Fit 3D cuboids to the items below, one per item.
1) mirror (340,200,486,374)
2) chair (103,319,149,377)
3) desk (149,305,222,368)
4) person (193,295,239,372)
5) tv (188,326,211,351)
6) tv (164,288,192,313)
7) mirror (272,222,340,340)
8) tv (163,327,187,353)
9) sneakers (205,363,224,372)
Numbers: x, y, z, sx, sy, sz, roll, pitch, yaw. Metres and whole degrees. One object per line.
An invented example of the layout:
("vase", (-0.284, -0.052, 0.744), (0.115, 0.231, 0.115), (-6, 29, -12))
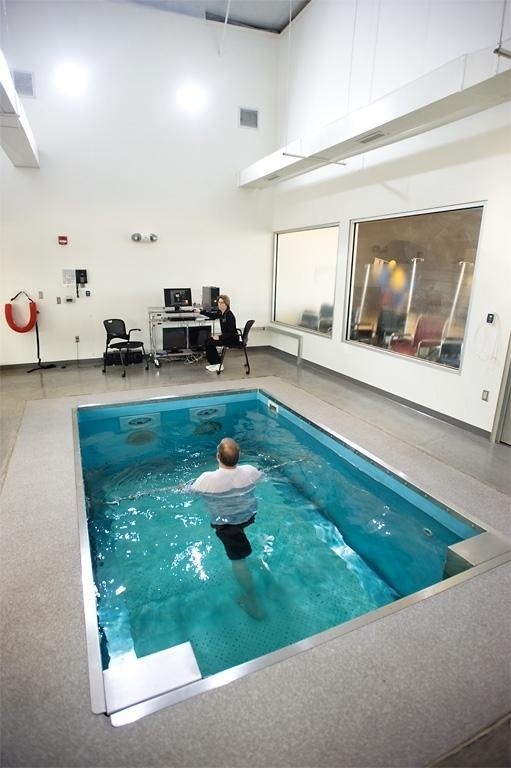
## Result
("mirror", (1.885, -1.219, 5.826), (0.026, 1.743, 1.991), (-7, 17, -30))
("chair", (-2.198, -0.622, 7.664), (0.707, 0.878, 0.702), (-3, -5, -13))
("desk", (-1.248, -0.857, 8.163), (1.116, 0.955, 0.617), (-5, 2, -9))
("person", (-0.606, -0.887, 7.807), (0.602, 1.242, 0.767), (-7, 16, -30))
("tv", (-1.019, -0.846, 8.367), (0.435, 0.516, 0.450), (-1, 7, -16))
("tv", (-1.367, -1.478, 8.066), (0.375, 0.375, 0.178), (-5, 18, -21))
("mirror", (0.953, -1.895, 8.167), (0.042, 1.544, 2.067), (-5, 22, -25))
("tv", (-1.404, -0.760, 7.942), (0.375, 0.431, 0.145), (-3, 10, -27))
("sneakers", (-0.646, -0.267, 7.707), (0.222, 0.098, 0.141), (-1, 5, -43))
